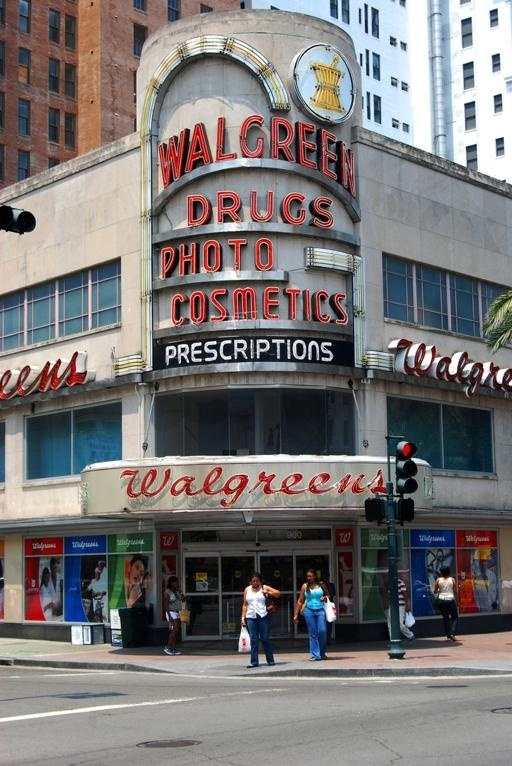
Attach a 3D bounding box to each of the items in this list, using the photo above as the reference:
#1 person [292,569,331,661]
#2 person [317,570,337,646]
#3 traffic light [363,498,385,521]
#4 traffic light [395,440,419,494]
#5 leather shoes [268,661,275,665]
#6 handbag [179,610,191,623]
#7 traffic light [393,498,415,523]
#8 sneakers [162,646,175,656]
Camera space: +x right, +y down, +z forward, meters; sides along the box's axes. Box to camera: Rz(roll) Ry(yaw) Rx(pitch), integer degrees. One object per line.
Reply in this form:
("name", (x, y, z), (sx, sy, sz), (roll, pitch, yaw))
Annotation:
("person", (1.037, 4.231, 22.299), (0.572, 1.614, 0.791), (1, -14, 1))
("person", (1.670, 4.631, 26.582), (0.432, 1.210, 0.447), (3, 12, 39))
("traffic light", (2.185, 2.302, 22.393), (0.355, 0.498, 0.467), (4, -15, -7))
("traffic light", (2.687, 1.497, 21.693), (0.344, 0.893, 0.787), (1, -15, 5))
("leather shoes", (0.295, 4.968, 21.714), (0.075, 0.085, 0.138), (-2, -6, 7))
("handbag", (-1.430, 4.692, 24.724), (0.140, 0.252, 0.354), (0, -15, 9))
("traffic light", (2.745, 2.319, 22.354), (0.290, 0.509, 0.614), (-1, -15, 10))
("sneakers", (-1.788, 5.467, 24.902), (0.106, 0.141, 0.310), (11, -19, -22))
